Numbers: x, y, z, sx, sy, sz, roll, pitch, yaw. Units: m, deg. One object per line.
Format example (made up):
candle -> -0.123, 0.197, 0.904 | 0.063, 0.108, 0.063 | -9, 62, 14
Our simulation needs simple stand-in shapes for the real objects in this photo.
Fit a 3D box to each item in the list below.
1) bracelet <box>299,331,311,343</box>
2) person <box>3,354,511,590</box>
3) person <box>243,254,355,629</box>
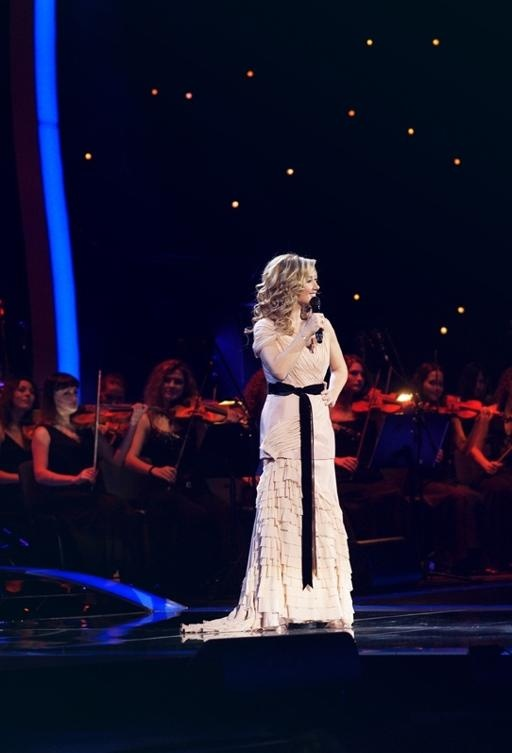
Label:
bracelet -> 0.178, -0.147, 2.856 | 0.032, 0.049, 0.048 | 3, 38, 2
person -> -0.631, 0.661, 4.881 | 2.310, 1.345, 0.508 | 0, -19, 0
person -> 0.117, 0.214, 2.935 | 0.422, 1.395, 0.338 | -3, -10, 11
